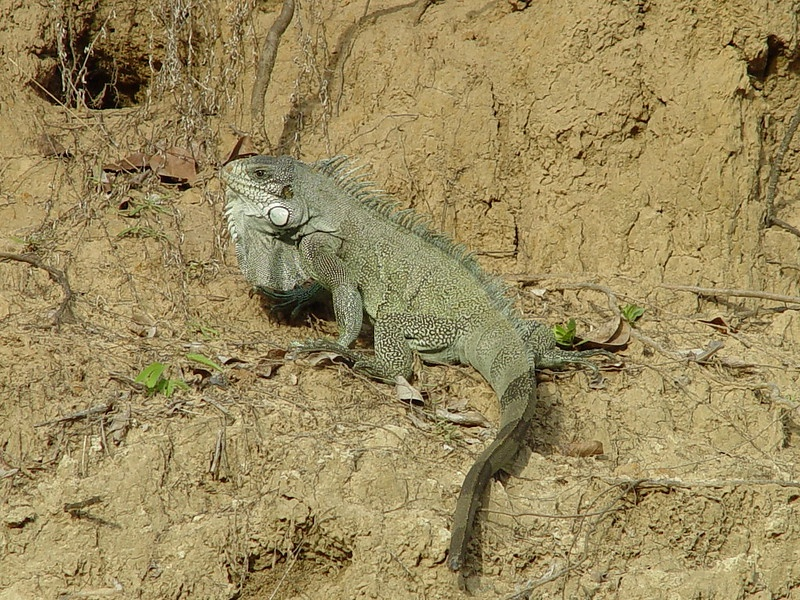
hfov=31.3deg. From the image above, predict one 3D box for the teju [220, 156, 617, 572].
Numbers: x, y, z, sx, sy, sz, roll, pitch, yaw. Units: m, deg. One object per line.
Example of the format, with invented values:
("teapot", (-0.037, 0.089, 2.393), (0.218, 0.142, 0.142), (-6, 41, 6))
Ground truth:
("teju", (-0.121, -0.058, 10.073), (2.661, 1.064, 2.662), (33, 37, 6))
